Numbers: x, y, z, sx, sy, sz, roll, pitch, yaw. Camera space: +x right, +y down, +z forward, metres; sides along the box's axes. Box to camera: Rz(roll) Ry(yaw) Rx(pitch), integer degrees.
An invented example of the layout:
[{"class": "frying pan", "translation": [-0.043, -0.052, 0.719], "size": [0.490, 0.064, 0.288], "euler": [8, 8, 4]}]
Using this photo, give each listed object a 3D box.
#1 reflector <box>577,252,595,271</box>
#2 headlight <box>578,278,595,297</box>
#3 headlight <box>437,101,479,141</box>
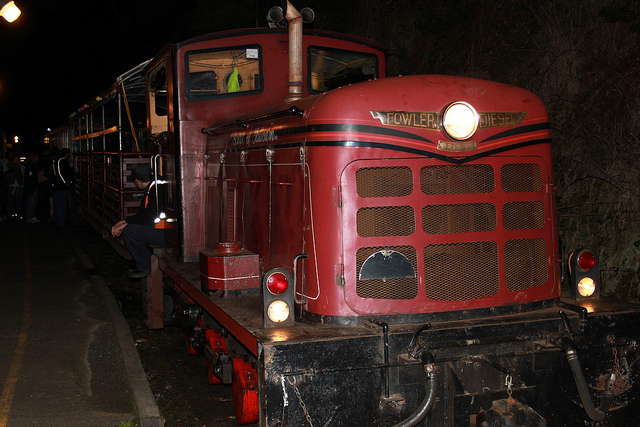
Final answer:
[{"class": "reflector", "translation": [2.359, 0.412, 4.468], "size": [0.161, 0.186, 0.024], "euler": [-2, 14, -12]}, {"class": "headlight", "translation": [2.382, 0.642, 4.534], "size": [0.158, 0.161, 0.044], "euler": [17, -3, -22]}, {"class": "headlight", "translation": [1.103, -0.732, 3.988], "size": [0.302, 0.309, 0.070], "euler": [2, 3, -15]}]
